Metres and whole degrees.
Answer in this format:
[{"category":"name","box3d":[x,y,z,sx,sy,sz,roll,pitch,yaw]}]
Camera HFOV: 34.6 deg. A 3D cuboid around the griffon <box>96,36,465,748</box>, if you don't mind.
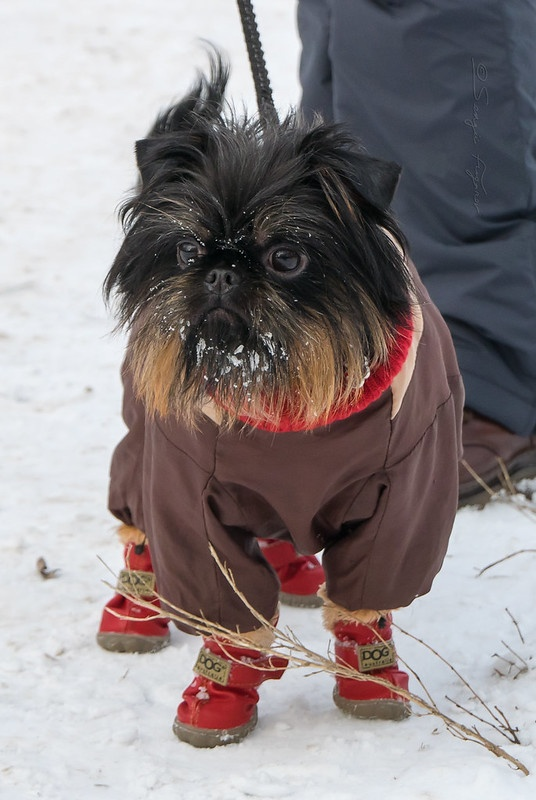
[{"category":"griffon","box3d":[-0.066,0.021,1.908,0.807,1.558,0.562,0,11,23]}]
